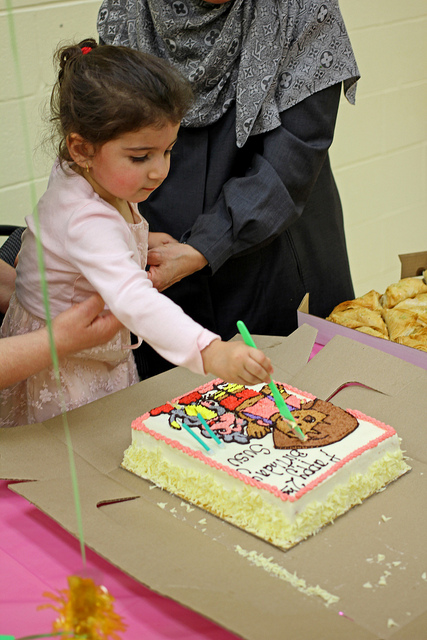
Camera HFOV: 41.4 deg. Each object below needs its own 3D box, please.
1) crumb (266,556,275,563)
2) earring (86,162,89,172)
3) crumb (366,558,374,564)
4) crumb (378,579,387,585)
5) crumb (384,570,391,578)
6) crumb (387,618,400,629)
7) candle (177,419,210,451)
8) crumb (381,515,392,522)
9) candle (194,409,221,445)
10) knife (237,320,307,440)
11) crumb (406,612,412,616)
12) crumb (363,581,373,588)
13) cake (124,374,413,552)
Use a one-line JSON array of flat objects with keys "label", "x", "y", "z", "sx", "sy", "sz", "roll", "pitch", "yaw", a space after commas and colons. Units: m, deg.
[{"label": "crumb", "x": 0.090, "y": 0.380, "z": 0.897, "sx": 0.005, "sy": 0.002, "sz": 0.010, "roll": -2, "pitch": 9, "yaw": 9}, {"label": "earring", "x": -0.246, "y": -0.302, "z": 1.110, "sx": 0.003, "sy": 0.011, "sz": 0.003, "roll": -3, "pitch": 19, "yaw": 7}, {"label": "crumb", "x": 0.239, "y": 0.367, "z": 0.864, "sx": 0.011, "sy": 0.002, "sz": 0.012, "roll": 2, "pitch": 12, "yaw": 15}, {"label": "crumb", "x": 0.242, "y": 0.375, "z": 0.811, "sx": 0.012, "sy": 0.003, "sz": 0.009, "roll": 1, "pitch": 12, "yaw": 11}, {"label": "crumb", "x": 0.255, "y": 0.370, "z": 0.830, "sx": 0.010, "sy": 0.002, "sz": 0.008, "roll": 8, "pitch": 15, "yaw": 39}, {"label": "crumb", "x": 0.228, "y": 0.387, "z": 0.720, "sx": 0.008, "sy": 0.002, "sz": 0.008, "roll": 20, "pitch": 28, "yaw": 37}, {"label": "candle", "x": -0.040, "y": 0.237, "z": 1.158, "sx": 0.009, "sy": 0.010, "sz": 0.078, "roll": -34, "pitch": 48, "yaw": -18}, {"label": "crumb", "x": 0.297, "y": 0.339, "z": 0.968, "sx": 0.017, "sy": 0.004, "sz": 0.021, "roll": -1, "pitch": 12, "yaw": 2}, {"label": "candle", "x": -0.012, "y": 0.222, "z": 1.179, "sx": 0.016, "sy": 0.013, "sz": 0.143, "roll": -13, "pitch": 37, "yaw": -20}, {"label": "knife", "x": 0.130, "y": 0.138, "z": 1.231, "sx": 0.043, "sy": 0.290, "sz": 0.013, "roll": -7, "pitch": 38, "yaw": 43}, {"label": "crumb", "x": 0.257, "y": 0.386, "z": 0.744, "sx": 0.006, "sy": 0.001, "sz": 0.007, "roll": 0, "pitch": 12, "yaw": 7}, {"label": "crumb", "x": 0.220, "y": 0.377, "z": 0.809, "sx": 0.013, "sy": 0.002, "sz": 0.014, "roll": 1, "pitch": 12, "yaw": 11}, {"label": "cake", "x": 0.115, "y": 0.263, "z": 1.192, "sx": 0.526, "sy": 0.101, "sz": 0.524, "roll": -7, "pitch": 20, "yaw": -25}]
